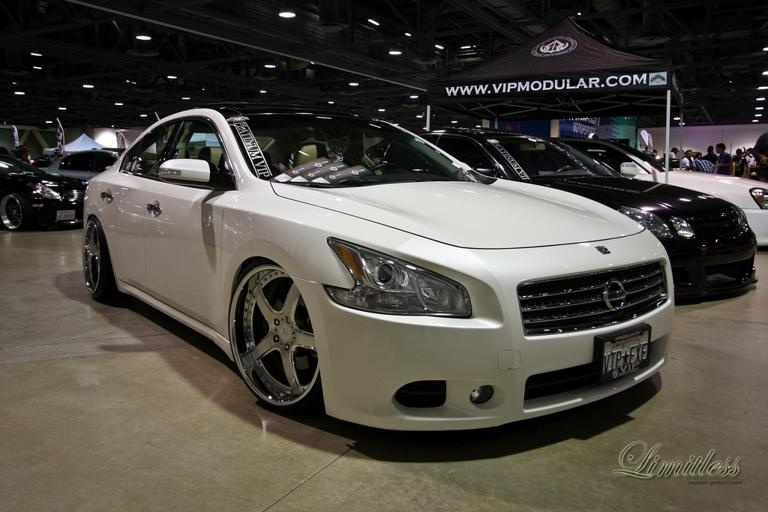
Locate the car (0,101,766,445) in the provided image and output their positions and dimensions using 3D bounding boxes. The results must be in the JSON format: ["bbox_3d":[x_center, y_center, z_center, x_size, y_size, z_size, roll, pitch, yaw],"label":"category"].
[{"bbox_3d":[-0.589,0.004,3.051,4.036,1.166,2.006,7,9,42],"label":"car"}]

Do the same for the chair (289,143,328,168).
[{"bbox_3d":[-0.530,-0.725,3.014,0.204,0.254,0.258,4,-5,2],"label":"chair"}]
